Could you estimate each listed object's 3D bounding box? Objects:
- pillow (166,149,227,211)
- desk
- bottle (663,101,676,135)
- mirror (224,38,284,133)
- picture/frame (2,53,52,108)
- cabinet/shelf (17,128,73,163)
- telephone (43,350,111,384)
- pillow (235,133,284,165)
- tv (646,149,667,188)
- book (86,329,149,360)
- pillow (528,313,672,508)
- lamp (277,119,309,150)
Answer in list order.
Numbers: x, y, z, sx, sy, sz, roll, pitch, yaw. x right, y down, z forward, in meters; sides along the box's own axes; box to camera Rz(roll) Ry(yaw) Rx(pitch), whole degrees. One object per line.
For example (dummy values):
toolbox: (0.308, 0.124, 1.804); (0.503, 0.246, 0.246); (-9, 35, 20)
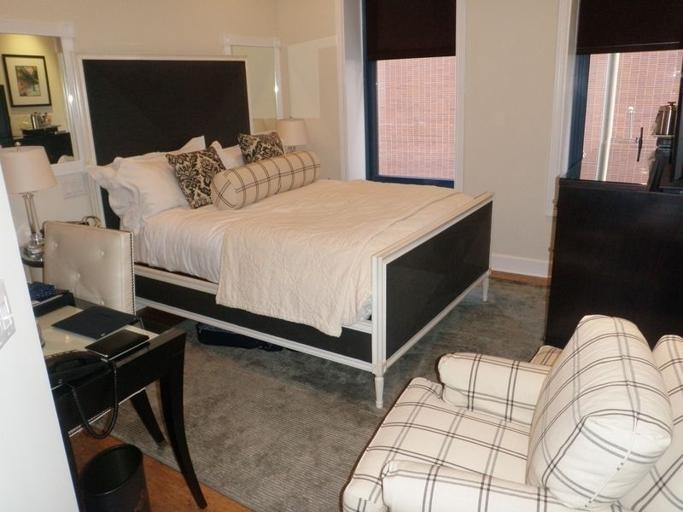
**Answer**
pillow: (-1.146, -0.630, 4.035); (0.148, 0.471, 0.500); (-23, 2, 35)
desk: (-0.985, 0.648, 2.240); (0.792, 0.747, 0.618); (21, 35, 34)
bottle: (2.200, -0.917, 3.450); (0.068, 0.183, 0.489); (7, 23, 30)
mirror: (-0.966, -1.837, 5.498); (0.055, 1.178, 1.038); (7, 14, 29)
picture/frame: (-2.277, -1.258, 3.680); (0.026, 0.394, 0.414); (2, 13, 25)
cabinet/shelf: (-2.254, -0.800, 3.913); (0.211, 0.259, 0.392); (10, 18, 25)
telephone: (-1.013, 0.413, 1.949); (0.113, 0.050, 0.149); (19, 23, 34)
pillow: (-0.761, -1.007, 4.780); (0.148, 0.350, 0.500); (-22, -2, 42)
tv: (1.839, -0.513, 2.982); (0.090, 0.139, 0.587); (8, 23, 31)
book: (-0.925, 0.365, 2.119); (0.145, 0.052, 0.218); (9, 24, 34)
pillow: (0.848, 0.536, 1.733); (0.388, 0.448, 0.522); (3, 21, 21)
lamp: (-0.520, -1.287, 5.578); (0.313, 0.442, 0.311); (-2, 29, 5)
